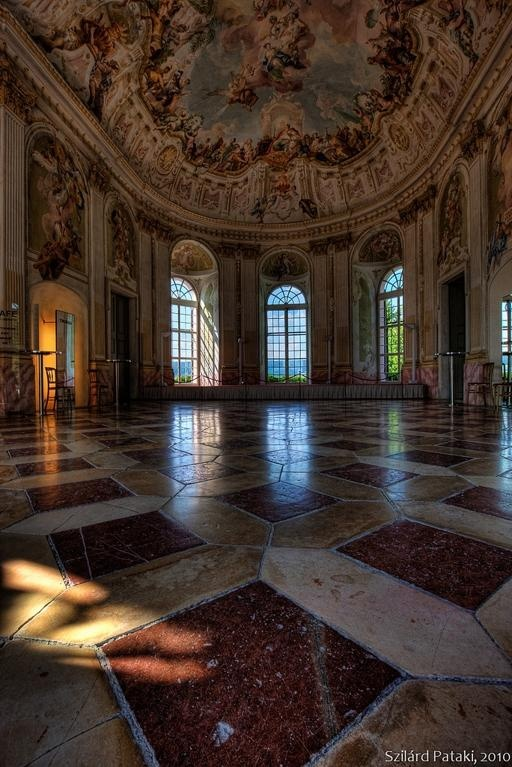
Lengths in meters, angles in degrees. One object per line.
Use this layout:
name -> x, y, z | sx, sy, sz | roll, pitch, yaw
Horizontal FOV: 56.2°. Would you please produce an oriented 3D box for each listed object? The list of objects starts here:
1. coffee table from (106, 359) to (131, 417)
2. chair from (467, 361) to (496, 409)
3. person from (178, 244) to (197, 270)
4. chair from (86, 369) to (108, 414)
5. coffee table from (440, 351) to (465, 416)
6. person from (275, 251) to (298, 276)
coffee table -> -3.050, 0.007, 10.558 | 0.583, 1.075, 0.578 | 2, 9, -6
chair -> 4.355, 0.005, 9.398 | 0.389, 0.837, 1.225 | -1, 0, 18
person -> -2.990, -5.371, 20.477 | 0.704, 0.918, 1.387 | -1, 0, -7
chair -> -3.657, 0.062, 11.197 | 0.434, 0.958, 1.567 | -1, 0, -17
coffee table -> 4.868, -0.135, 12.184 | 0.721, 1.345, 0.735 | -3, -8, 37
person -> 1.263, -5.249, 20.667 | 0.718, 0.775, 0.227 | 0, 34, 18
